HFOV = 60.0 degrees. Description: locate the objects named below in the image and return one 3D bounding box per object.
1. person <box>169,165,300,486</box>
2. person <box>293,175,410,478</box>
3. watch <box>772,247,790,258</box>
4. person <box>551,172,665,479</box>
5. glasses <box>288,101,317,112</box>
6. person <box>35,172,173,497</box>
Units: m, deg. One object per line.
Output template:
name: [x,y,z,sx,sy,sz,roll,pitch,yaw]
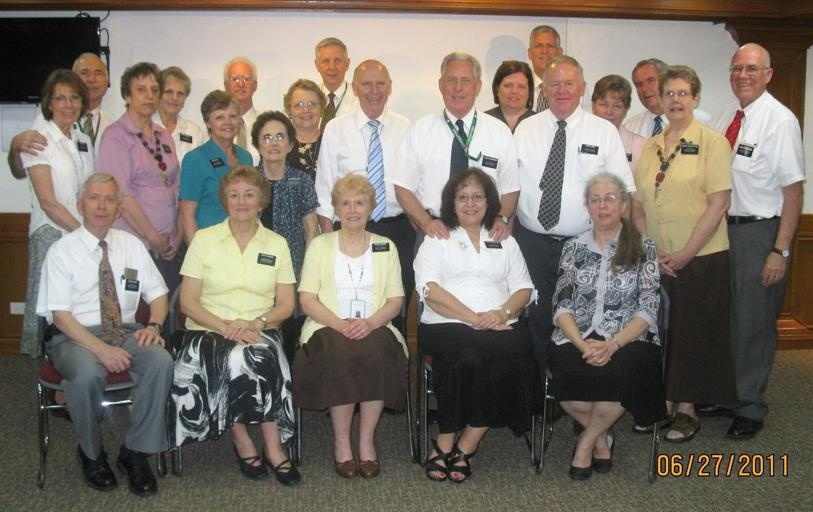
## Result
person: [-1.253,0.485,5.119,0.872,2.234,0.621,-2,8,-6]
person: [-0.406,0.487,5.222,0.820,2.159,0.641,-2,8,-1]
watch: [2.986,-0.026,5.620,0.113,0.064,0.104,9,-7,-24]
person: [1.468,0.489,5.178,0.818,2.175,0.611,0,8,11]
glasses: [-0.868,-1.287,6.061,0.219,0.074,0.050,-2,8,-7]
person: [-2.115,0.417,5.013,0.875,1.987,0.653,-6,9,-28]
